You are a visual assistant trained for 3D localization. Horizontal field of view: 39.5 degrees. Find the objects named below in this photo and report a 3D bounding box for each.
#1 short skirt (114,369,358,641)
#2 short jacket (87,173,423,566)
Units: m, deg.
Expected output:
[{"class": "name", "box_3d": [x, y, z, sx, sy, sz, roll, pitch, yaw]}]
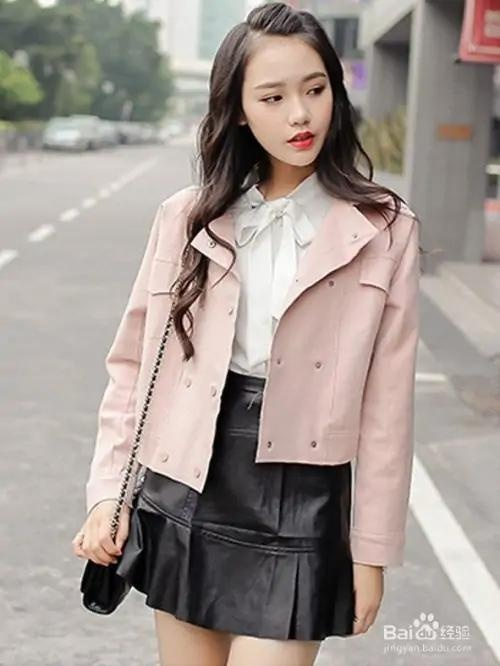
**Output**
[{"class": "short skirt", "box_3d": [-0.001, 0.332, 1.381, 0.444, 0.415, 0.257, 7, 5, 20]}, {"class": "short jacket", "box_3d": [0.006, 0.052, 1.393, 0.675, 0.670, 0.350, 6, 13, 15]}]
